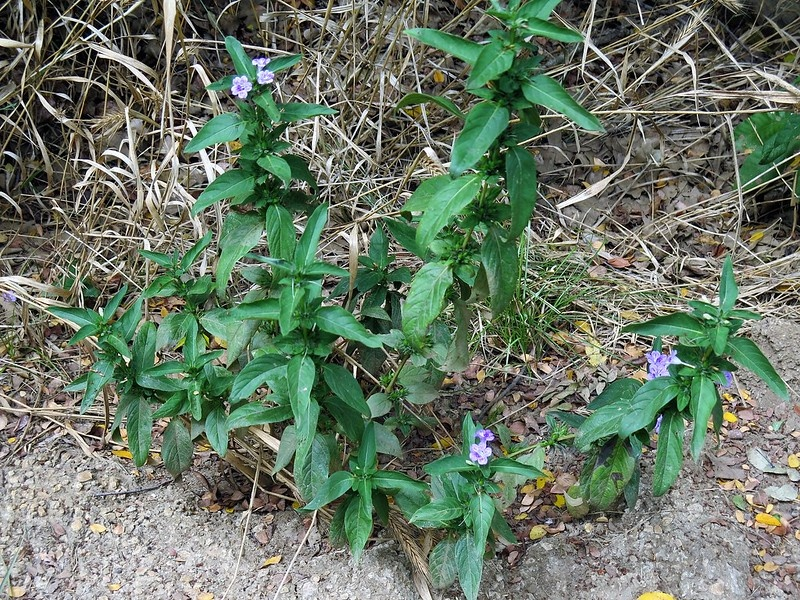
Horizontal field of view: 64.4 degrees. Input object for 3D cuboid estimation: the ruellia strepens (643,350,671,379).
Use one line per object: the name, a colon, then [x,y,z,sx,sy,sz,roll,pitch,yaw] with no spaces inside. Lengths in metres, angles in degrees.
ruellia strepens: [1.119,0.277,2.736,0.122,0.069,0.143,2,52,13]

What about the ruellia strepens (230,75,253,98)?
ruellia strepens: [-0.628,-0.874,2.537,0.091,0.026,0.103,-10,85,8]

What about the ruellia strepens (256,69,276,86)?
ruellia strepens: [-0.532,-0.901,2.554,0.059,0.023,0.065,13,68,9]

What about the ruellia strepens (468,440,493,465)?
ruellia strepens: [0.315,0.612,2.518,0.095,0.103,0.076,25,58,12]
